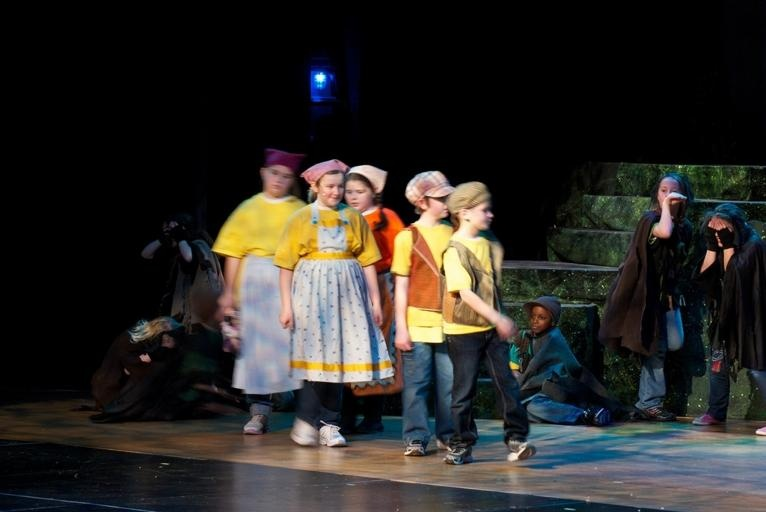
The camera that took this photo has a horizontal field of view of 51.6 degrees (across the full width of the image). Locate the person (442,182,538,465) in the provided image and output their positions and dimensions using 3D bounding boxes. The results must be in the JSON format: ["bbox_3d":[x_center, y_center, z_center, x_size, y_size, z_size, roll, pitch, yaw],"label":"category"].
[{"bbox_3d":[0.668,0.443,5.232,0.554,1.861,0.485,-2,-3,15],"label":"person"}]

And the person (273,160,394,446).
[{"bbox_3d":[-0.345,0.344,5.748,0.832,2.073,0.287,-1,-3,-6],"label":"person"}]

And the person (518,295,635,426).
[{"bbox_3d":[1.485,0.872,6.676,1.066,0.999,0.794,5,8,42],"label":"person"}]

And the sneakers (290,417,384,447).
[{"bbox_3d":[-0.395,1.277,5.726,0.467,0.188,0.164,0,-6,10],"label":"sneakers"}]

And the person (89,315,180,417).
[{"bbox_3d":[-2.069,0.955,6.783,0.731,0.835,0.519,0,-3,-18],"label":"person"}]

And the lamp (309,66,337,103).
[{"bbox_3d":[-0.709,-2.029,9.421,0.420,0.361,0.376,0,4,-4],"label":"lamp"}]

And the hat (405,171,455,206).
[{"bbox_3d":[0.307,-0.496,5.595,0.302,0.152,0.235,-25,-5,31],"label":"hat"}]

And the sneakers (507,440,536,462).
[{"bbox_3d":[0.886,1.309,5.301,0.241,0.111,0.102,-26,-13,37],"label":"sneakers"}]

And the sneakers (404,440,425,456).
[{"bbox_3d":[0.228,1.325,5.468,0.075,0.069,0.163,2,-2,3],"label":"sneakers"}]

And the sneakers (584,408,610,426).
[{"bbox_3d":[1.782,1.324,6.614,0.148,0.119,0.196,-5,-8,36],"label":"sneakers"}]

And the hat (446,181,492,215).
[{"bbox_3d":[0.576,-0.384,5.285,0.263,0.210,0.192,-22,17,22],"label":"hat"}]

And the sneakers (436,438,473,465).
[{"bbox_3d":[0.497,1.335,5.313,0.101,0.118,0.287,1,-17,34],"label":"sneakers"}]

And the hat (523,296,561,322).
[{"bbox_3d":[1.394,0.411,6.834,0.289,0.192,0.199,18,-25,26],"label":"hat"}]

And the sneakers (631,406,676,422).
[{"bbox_3d":[2.323,1.362,6.843,0.356,0.145,0.142,-2,-4,16],"label":"sneakers"}]

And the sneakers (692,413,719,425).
[{"bbox_3d":[2.721,1.396,6.754,0.227,0.084,0.090,2,-6,-4],"label":"sneakers"}]
